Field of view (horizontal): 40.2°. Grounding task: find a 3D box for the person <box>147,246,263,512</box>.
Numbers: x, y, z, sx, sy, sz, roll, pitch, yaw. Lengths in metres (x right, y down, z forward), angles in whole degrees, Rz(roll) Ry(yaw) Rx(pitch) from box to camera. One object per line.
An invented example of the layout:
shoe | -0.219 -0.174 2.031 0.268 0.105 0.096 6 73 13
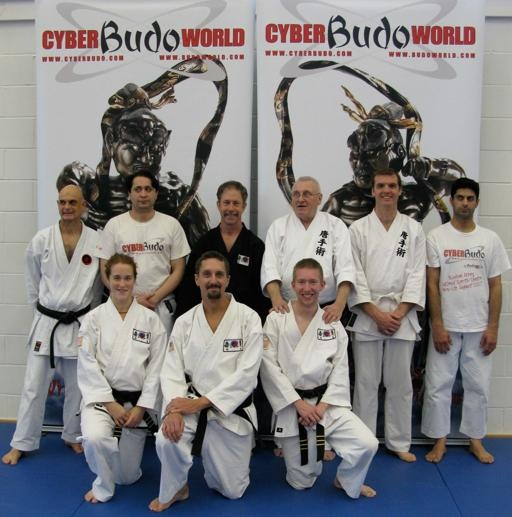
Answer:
person | -0.326 0.891 4.603 0.749 1.284 0.564 -1 10 -7

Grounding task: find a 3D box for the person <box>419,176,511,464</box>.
person | 1.530 0.566 5.146 0.589 1.796 0.586 3 11 14

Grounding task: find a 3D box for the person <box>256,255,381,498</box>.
person | 0.408 0.766 4.671 0.785 1.493 0.508 2 10 9
